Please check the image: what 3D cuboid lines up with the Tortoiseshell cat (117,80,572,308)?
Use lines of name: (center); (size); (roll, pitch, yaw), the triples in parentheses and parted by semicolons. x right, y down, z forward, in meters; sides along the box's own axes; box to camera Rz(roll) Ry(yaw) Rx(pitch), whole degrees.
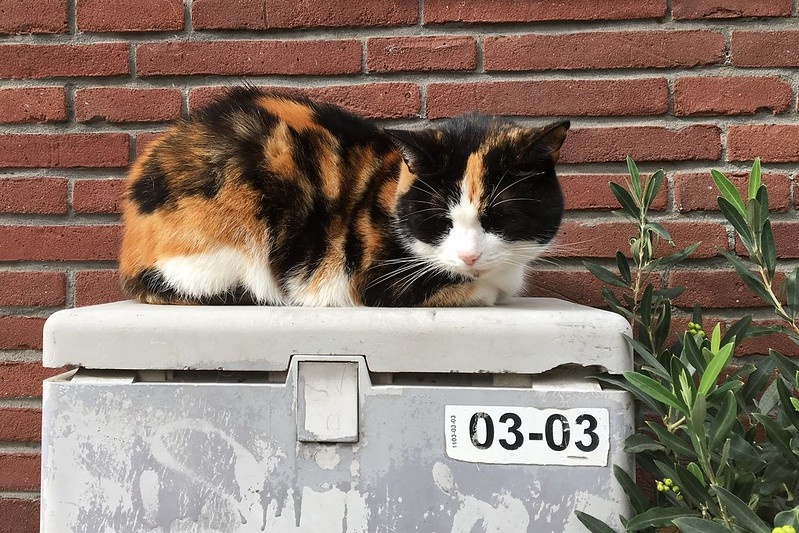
Tortoiseshell cat: (-0.166, -0.245, 4.814); (1.173, 0.473, 0.624); (-2, 19, -5)
